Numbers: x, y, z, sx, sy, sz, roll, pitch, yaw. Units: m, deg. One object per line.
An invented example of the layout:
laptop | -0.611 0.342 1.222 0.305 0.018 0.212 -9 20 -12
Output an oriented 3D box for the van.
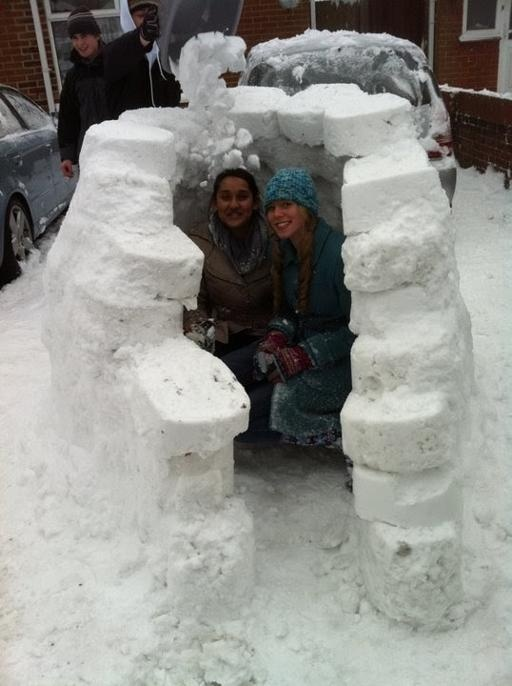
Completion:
van | 0.717 -1.863 5.016 1.100 0.903 1.808 -8 38 -5

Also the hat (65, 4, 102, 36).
hat | -1.061 -2.016 3.967 0.188 0.198 0.233 -7 40 -2

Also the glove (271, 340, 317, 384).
glove | 0.146 0.093 2.594 0.193 0.118 0.073 -7 28 -1

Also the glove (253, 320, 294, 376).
glove | 0.074 0.008 2.681 0.077 0.142 0.245 33 69 5

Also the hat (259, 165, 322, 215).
hat | 0.153 -0.599 2.508 0.189 0.177 0.193 2 8 -3
